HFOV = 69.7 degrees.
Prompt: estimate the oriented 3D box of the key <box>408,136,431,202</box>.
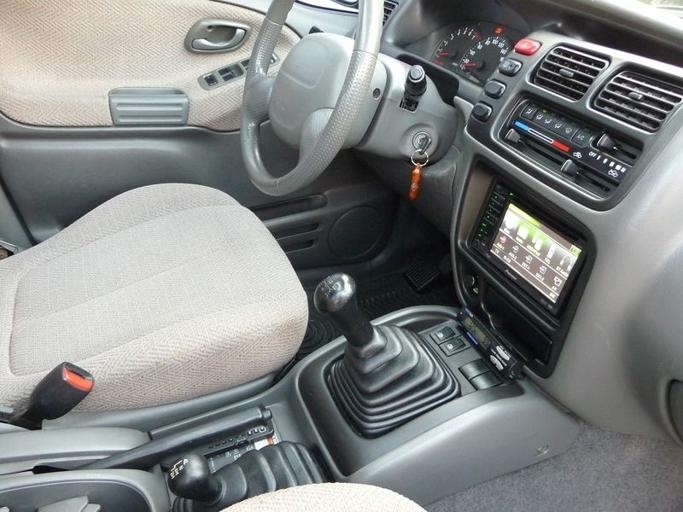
[{"bbox_3d":[0.198,-0.223,1.258,0.047,0.152,0.039,13,9,28],"label":"key"}]
